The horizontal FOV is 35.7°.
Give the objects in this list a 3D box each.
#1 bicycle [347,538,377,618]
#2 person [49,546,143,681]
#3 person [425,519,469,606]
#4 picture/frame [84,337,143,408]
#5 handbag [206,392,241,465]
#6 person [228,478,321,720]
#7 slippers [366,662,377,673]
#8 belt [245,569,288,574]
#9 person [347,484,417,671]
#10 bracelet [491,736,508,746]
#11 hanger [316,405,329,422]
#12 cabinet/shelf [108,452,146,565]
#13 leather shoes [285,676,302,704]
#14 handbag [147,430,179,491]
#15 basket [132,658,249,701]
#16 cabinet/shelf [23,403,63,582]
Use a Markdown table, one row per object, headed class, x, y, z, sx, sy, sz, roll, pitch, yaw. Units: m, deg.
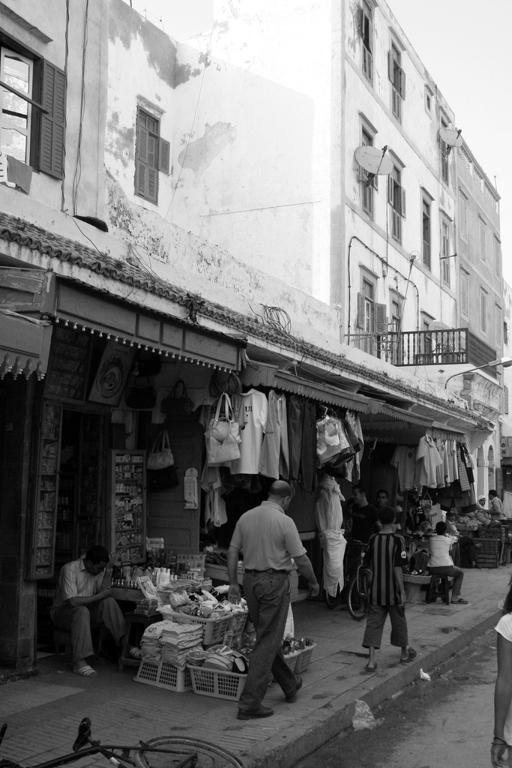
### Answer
| class | x | y | z | sx | sy | sz | roll | pitch | yaw |
| --- | --- | --- | --- | --- | --- | --- | --- | --- | --- |
| bicycle | 1.335 | 2.504 | 9.891 | 0.415 | 0.859 | 1.125 | 2 | -21 | 12 |
| person | -1.387 | 1.783 | 6.488 | 0.436 | 0.979 | 0.451 | 2 | 2 | 12 |
| person | 2.866 | 2.682 | 11.968 | 0.558 | 1.195 | 0.854 | -6 | -11 | 33 |
| picture/frame | -1.327 | -0.134 | 7.246 | 0.050 | 0.594 | 0.406 | 12 | -7 | 17 |
| handbag | -0.300 | 0.375 | 7.151 | 0.300 | 0.661 | 0.322 | 0 | -8 | -5 |
| person | 0.115 | 1.446 | 5.535 | 0.628 | 1.569 | 0.670 | 0 | -8 | -2 |
| slippers | 1.005 | 2.455 | 6.915 | 0.056 | 0.089 | 0.066 | 0 | -14 | 6 |
| belt | 0.071 | 1.266 | 5.399 | 0.300 | 0.044 | 0.136 | 0 | -12 | -3 |
| person | 1.174 | 1.839 | 7.288 | 0.773 | 1.421 | 0.432 | 8 | -11 | -43 |
| bracelet | 0.945 | 1.379 | 3.091 | 0.070 | 0.042 | 0.058 | -11 | -15 | 42 |
| hanger | 0.735 | 0.354 | 8.940 | 0.109 | 0.247 | 0.154 | 3 | -12 | -21 |
| cabinet/shelf | -1.236 | 1.143 | 7.634 | 0.326 | 1.343 | 0.132 | -3 | 28 | -15 |
| leather shoes | 0.275 | 2.209 | 5.798 | 0.062 | 0.130 | 0.240 | 0 | 14 | 11 |
| handbag | -0.908 | 0.751 | 7.816 | 0.258 | 0.760 | 0.177 | -9 | -15 | 20 |
| basket | -0.497 | 2.167 | 5.877 | 0.550 | 0.214 | 0.400 | 4 | -16 | 27 |
| cabinet/shelf | -1.745 | 0.851 | 6.549 | 0.173 | 1.479 | 0.672 | 1 | -8 | -8 |
